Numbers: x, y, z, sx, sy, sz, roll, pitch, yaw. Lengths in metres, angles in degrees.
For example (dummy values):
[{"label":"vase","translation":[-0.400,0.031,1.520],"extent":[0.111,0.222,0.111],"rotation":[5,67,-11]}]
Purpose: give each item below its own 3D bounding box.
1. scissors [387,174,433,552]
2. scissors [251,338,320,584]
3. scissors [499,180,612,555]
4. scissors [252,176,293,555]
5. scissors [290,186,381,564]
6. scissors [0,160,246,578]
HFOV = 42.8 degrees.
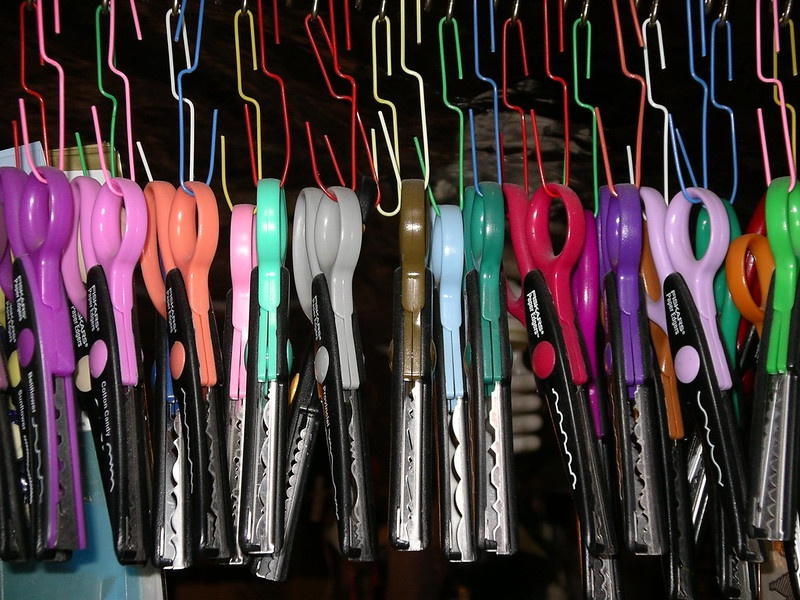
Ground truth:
[{"label":"scissors","translation":[0.012,0.085,1.370],"extent":[0.067,0.493,0.055],"rotation":[-2,-7,-1]},{"label":"scissors","translation":[-0.153,0.232,1.486],"extent":[0.064,0.427,0.113],"rotation":[3,-6,-12]},{"label":"scissors","translation":[0.212,0.087,1.374],"extent":[0.125,0.511,0.062],"rotation":[-3,-7,12]},{"label":"scissors","translation":[-0.171,0.086,1.367],"extent":[0.049,0.502,0.048],"rotation":[0,-7,-19]},{"label":"scissors","translation":[-0.088,0.096,1.371],"extent":[0.117,0.484,0.080],"rotation":[-4,0,0]},{"label":"scissors","translation":[-0.436,0.088,1.377],"extent":[0.204,0.542,0.092],"rotation":[-3,-7,7]}]
